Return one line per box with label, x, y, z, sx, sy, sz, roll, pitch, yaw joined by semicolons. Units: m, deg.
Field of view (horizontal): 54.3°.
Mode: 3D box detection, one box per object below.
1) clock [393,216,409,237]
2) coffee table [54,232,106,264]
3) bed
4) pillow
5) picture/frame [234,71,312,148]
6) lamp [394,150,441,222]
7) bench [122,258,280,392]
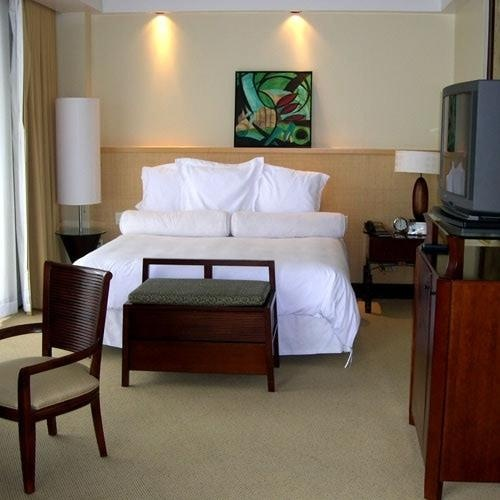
clock;1.267;-0.208;4.094;0.109;0.157;0.145;-2;35;3
coffee table;-1.494;-0.072;4.269;0.292;0.318;0.330;1;11;-1
bed;0.000;0.191;3.058;0.960;0.336;1.089;2;15;5
pillow;-0.143;-0.458;4.034;1.742;0.614;0.729;1;9;5
picture/frame;0.236;-1.318;4.473;0.556;0.616;0.041;0;3;-1
lamp;1.441;-0.537;4.138;0.316;0.604;0.340;-4;8;-27
bench;-0.270;0.405;2.821;0.774;0.744;0.560;2;2;-4
